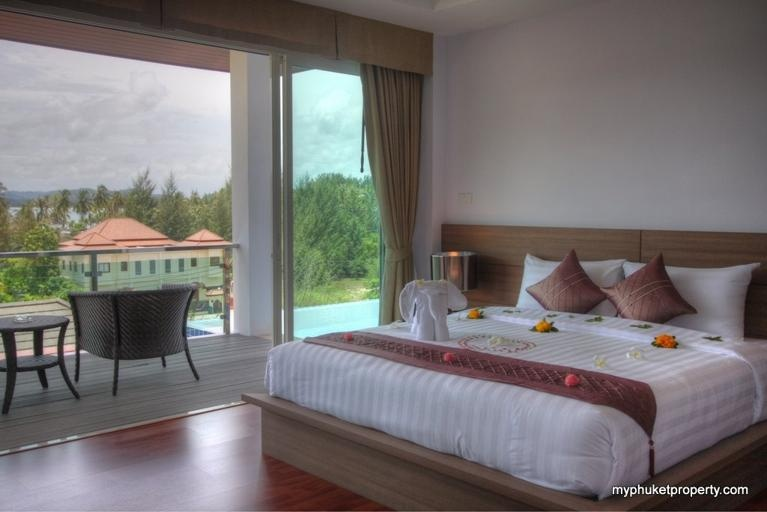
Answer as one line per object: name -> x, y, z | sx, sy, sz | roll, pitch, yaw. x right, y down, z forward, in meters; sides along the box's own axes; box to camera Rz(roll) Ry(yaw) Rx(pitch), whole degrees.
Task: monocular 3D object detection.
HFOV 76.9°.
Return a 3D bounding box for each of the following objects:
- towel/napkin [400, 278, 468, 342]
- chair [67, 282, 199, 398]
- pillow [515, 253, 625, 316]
towel/napkin -> 0.337, 0.346, 3.562 | 0.449, 0.420, 0.458 | -1, 2, -34
chair -> -2.315, 0.621, 4.586 | 1.017, 0.887, 1.044 | 5, 4, 44
pillow -> 1.722, 0.243, 4.265 | 0.186, 0.589, 0.626 | 28, -13, -39
